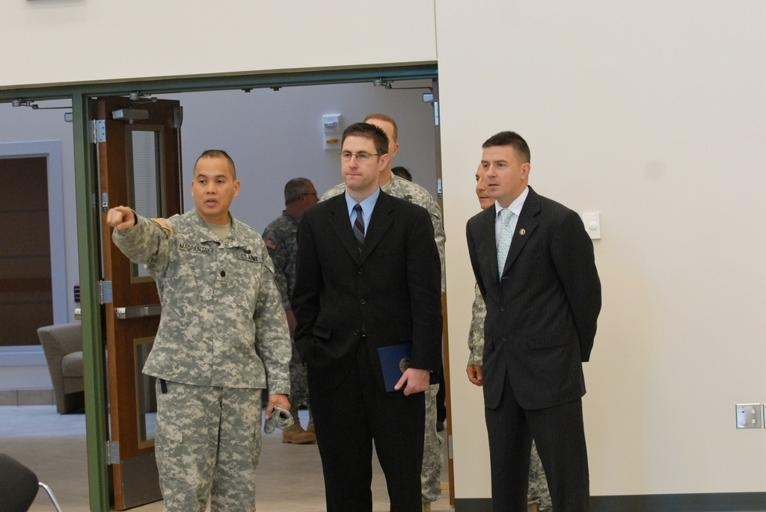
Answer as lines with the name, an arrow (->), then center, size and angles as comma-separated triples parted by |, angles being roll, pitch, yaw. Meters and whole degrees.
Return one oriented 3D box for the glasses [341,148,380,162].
glasses -> -0.115, -0.523, 3.745 | 0.191, 0.054, 0.053 | 0, -1, -1
